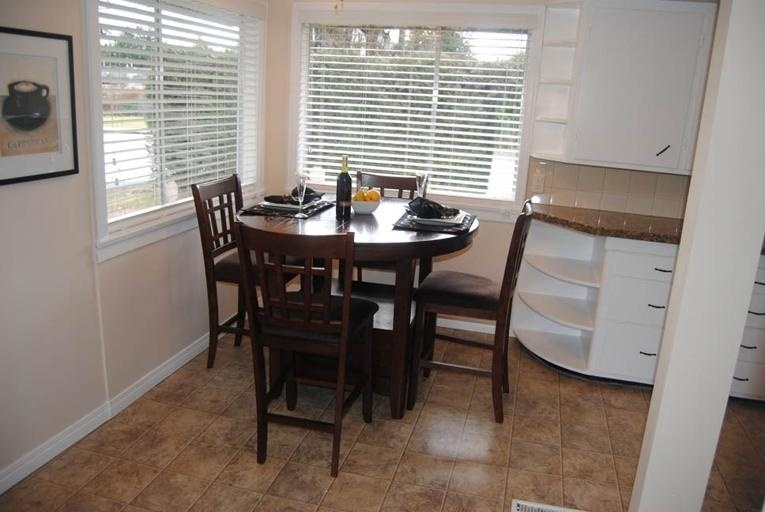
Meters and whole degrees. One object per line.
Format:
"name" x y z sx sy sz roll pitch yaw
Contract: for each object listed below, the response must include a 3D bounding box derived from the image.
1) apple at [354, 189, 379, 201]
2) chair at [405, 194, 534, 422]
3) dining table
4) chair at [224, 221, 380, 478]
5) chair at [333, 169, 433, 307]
"apple" -0.105 -0.413 3.808 0.170 0.081 0.102 -7 0 -4
"chair" 0.591 0.358 3.795 0.843 1.311 0.740 8 11 33
"dining table" -0.057 0.217 3.485 1.429 1.059 1.437 2 12 9
"chair" -0.420 0.394 3.389 0.775 1.379 1.151 2 19 -2
"chair" 0.026 -0.143 4.272 0.890 0.938 0.890 3 13 -1
